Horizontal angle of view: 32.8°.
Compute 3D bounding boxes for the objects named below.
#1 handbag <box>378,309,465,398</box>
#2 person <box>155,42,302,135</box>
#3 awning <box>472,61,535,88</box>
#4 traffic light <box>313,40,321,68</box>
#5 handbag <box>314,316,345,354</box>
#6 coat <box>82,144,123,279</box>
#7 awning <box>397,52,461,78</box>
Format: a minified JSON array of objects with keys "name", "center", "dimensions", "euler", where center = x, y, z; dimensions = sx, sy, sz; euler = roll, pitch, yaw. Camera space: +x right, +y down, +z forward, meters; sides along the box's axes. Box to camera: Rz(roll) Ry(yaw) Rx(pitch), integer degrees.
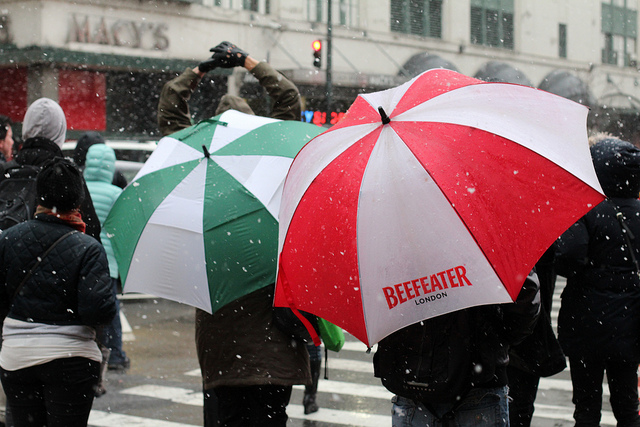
[{"name":"handbag","center":[1.080,1.193,11.035],"dimensions":[0.814,1.324,0.642],"euler":[3,11,15]},{"name":"person","center":[-1.094,-1.480,12.701],"dimensions":[1.163,1.261,0.455],"euler":[-3,-22,5]},{"name":"awning","center":[6.579,-5.168,39.372],"dimensions":[1.529,0.904,3.952],"euler":[2,1,25]},{"name":"traffic light","center":[-0.083,-3.905,26.295],"dimensions":[0.167,0.554,0.523],"euler":[2,1,-1]},{"name":"handbag","center":[0.179,1.263,11.844],"dimensions":[0.153,0.231,0.440],"euler":[-19,39,14]},{"name":"coat","center":[-2.617,-0.010,13.014],"dimensions":[0.509,1.695,0.614],"euler":[7,-22,-11]},{"name":"awning","center":[3.656,-5.106,37.337],"dimensions":[1.273,0.827,2.471],"euler":[2,1,39]}]
